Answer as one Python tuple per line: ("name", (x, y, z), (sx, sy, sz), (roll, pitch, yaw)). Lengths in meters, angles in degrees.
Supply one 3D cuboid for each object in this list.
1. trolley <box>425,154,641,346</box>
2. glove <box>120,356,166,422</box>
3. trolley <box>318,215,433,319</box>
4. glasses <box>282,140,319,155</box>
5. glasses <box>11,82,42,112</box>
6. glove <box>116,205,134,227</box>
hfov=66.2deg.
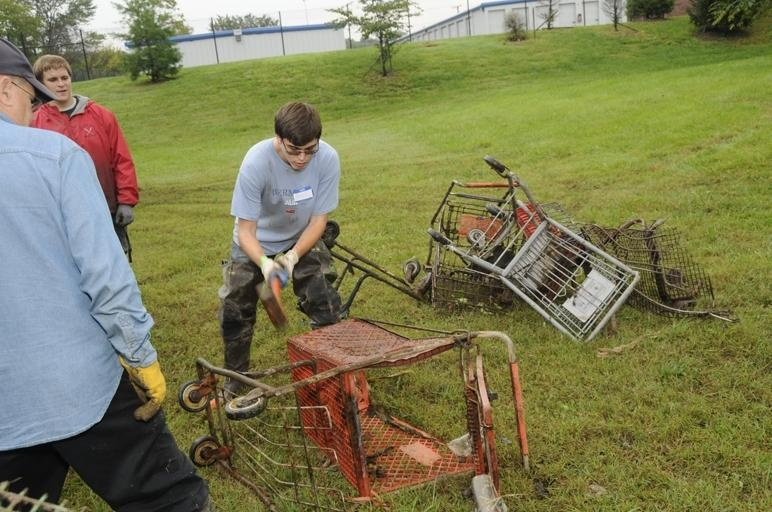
("trolley", (1.759, -0.012, 6.982), (2.847, 1.406, 1.173), (39, -2, 23))
("glove", (-1.565, 0.865, 3.975), (0.317, 0.400, 0.166), (-3, 10, 20))
("trolley", (-0.085, 0.228, 7.268), (1.656, 1.059, 0.726), (5, 55, -9))
("glasses", (-0.748, -0.938, 5.173), (0.279, 0.132, 0.095), (-6, 24, -10))
("glasses", (-2.345, -1.045, 3.860), (0.224, 0.243, 0.065), (23, 18, 38))
("glove", (-2.853, -0.434, 6.478), (0.175, 0.246, 0.103), (0, -5, -21))
